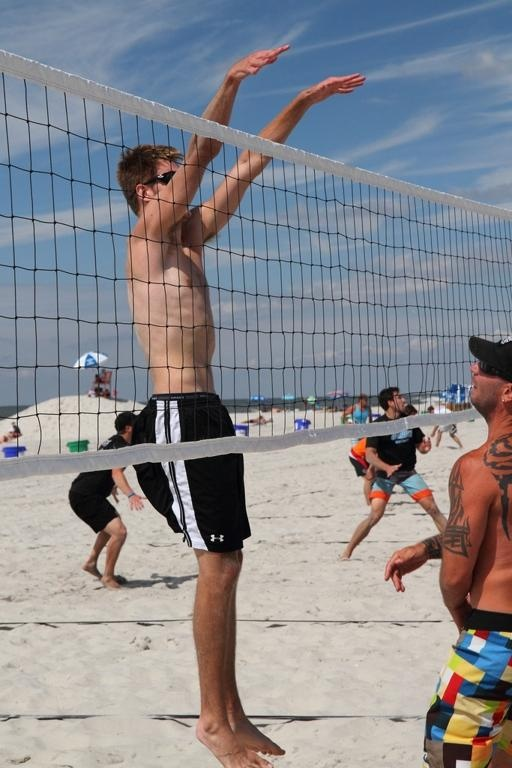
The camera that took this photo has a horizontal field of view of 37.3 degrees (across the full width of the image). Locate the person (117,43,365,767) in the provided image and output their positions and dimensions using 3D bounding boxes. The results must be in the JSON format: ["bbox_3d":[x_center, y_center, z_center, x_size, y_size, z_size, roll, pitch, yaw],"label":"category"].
[{"bbox_3d":[-0.181,0.028,2.786,0.717,2.642,0.800,0,2,3],"label":"person"}]

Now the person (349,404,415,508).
[{"bbox_3d":[1.185,0.733,7.739,0.555,0.860,0.324,-6,5,-3],"label":"person"}]

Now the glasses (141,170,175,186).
[{"bbox_3d":[-0.354,-0.752,2.795,0.076,0.022,0.074,-10,7,20],"label":"glasses"}]
